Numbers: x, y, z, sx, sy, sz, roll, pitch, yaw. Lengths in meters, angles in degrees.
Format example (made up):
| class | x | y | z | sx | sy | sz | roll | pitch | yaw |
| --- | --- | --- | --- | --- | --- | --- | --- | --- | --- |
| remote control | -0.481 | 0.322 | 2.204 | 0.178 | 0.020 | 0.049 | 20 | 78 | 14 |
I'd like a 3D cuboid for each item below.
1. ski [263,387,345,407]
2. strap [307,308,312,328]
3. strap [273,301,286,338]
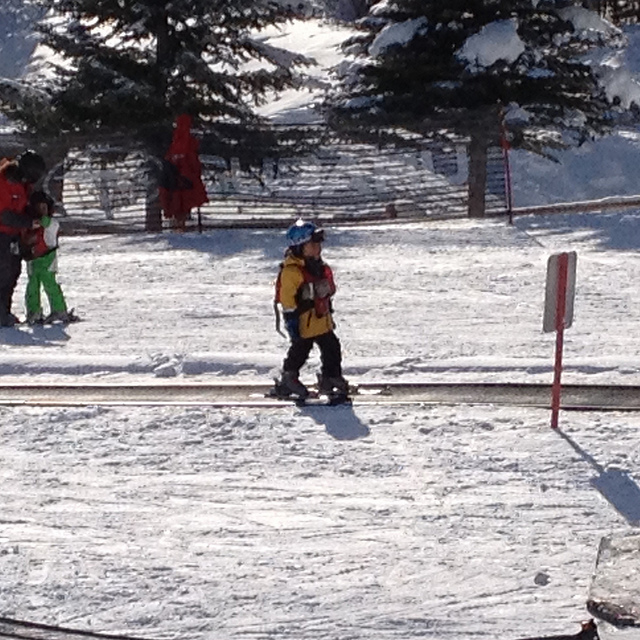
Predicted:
| class | x | y | z | sx | sy | sz | roll | pitch | yaw |
| --- | --- | --- | --- | --- | --- | --- | --- | --- | --- |
| ski | -0.178 | 0.736 | 10.192 | 0.802 | 0.109 | 0.217 | 1 | 6 | 22 |
| strap | -0.094 | -0.031 | 9.972 | 0.023 | 0.163 | 0.026 | 1 | 26 | -36 |
| strap | -0.381 | -0.016 | 10.043 | 0.080 | 0.262 | 0.212 | -4 | 11 | -1 |
